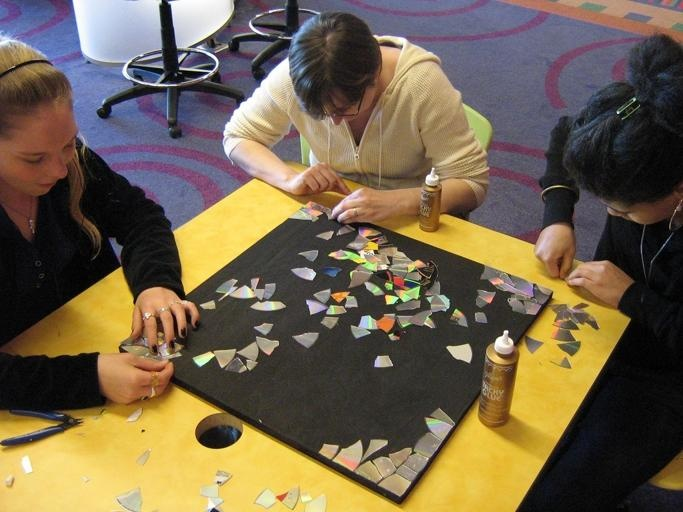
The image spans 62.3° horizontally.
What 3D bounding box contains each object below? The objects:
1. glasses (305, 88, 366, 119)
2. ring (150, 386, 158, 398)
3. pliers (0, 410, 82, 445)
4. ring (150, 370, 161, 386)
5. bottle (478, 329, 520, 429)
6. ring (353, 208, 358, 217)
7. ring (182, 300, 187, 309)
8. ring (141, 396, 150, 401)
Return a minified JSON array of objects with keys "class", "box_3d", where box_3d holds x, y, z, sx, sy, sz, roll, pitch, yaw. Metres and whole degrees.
[{"class":"glasses","box_3d":[-0.016,-0.471,1.744,0.102,0.054,0.130,-5,30,12]},{"class":"ring","box_3d":[-0.442,0.321,1.338,0.007,0.023,0.022,7,77,-12]},{"class":"pliers","box_3d":[-0.690,0.386,1.283,0.129,0.020,0.072,-3,28,-2]},{"class":"ring","box_3d":[-0.436,0.293,1.340,0.006,0.025,0.024,1,71,12]},{"class":"bottle","box_3d":[0.362,0.268,1.257,0.098,0.227,0.122,7,41,5]},{"class":"ring","box_3d":[0.041,-0.135,1.761,0.004,0.015,0.016,21,15,-20]},{"class":"ring","box_3d":[-0.419,0.128,1.510,0.011,0.008,0.015,-6,37,-7]},{"class":"ring","box_3d":[-0.462,0.337,1.339,0.017,0.011,0.007,-18,22,21]}]
